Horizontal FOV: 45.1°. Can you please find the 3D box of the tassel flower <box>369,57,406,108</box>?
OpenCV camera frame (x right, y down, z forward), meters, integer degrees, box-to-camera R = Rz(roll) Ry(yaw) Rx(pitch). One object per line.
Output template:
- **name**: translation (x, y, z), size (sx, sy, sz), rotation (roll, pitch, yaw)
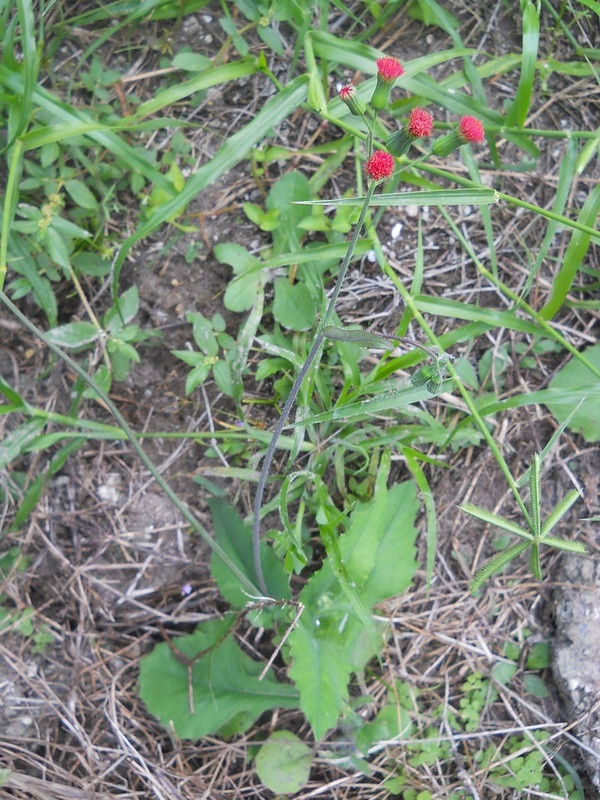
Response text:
- **tassel flower**: translation (0.130, -0.510, 1.176), size (0.060, 0.053, 0.080), rotation (16, 105, 18)
